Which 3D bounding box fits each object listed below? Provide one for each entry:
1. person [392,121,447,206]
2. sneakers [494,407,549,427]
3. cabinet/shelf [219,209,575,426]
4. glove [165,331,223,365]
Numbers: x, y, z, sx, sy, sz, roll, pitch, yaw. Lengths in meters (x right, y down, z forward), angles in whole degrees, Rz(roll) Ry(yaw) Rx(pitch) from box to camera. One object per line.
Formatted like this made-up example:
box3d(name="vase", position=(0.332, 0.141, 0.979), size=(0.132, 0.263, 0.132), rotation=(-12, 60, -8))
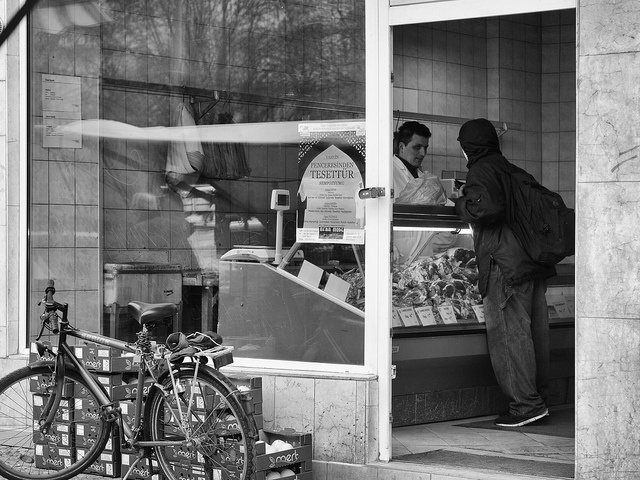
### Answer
box3d(name="person", position=(0.865, -0.681, 8.900), size=(0.502, 0.838, 0.912), rotation=(-1, 2, 15))
box3d(name="sneakers", position=(1.574, 1.375, 7.988), size=(0.433, 0.190, 0.162), rotation=(-7, -5, 2))
box3d(name="cabinet/shelf", position=(0.691, 0.573, 7.917), size=(2.964, 1.737, 0.891), rotation=(12, -6, -33))
box3d(name="glove", position=(-0.824, 0.681, 6.641), size=(0.270, 0.119, 0.207), rotation=(-10, 4, -24))
